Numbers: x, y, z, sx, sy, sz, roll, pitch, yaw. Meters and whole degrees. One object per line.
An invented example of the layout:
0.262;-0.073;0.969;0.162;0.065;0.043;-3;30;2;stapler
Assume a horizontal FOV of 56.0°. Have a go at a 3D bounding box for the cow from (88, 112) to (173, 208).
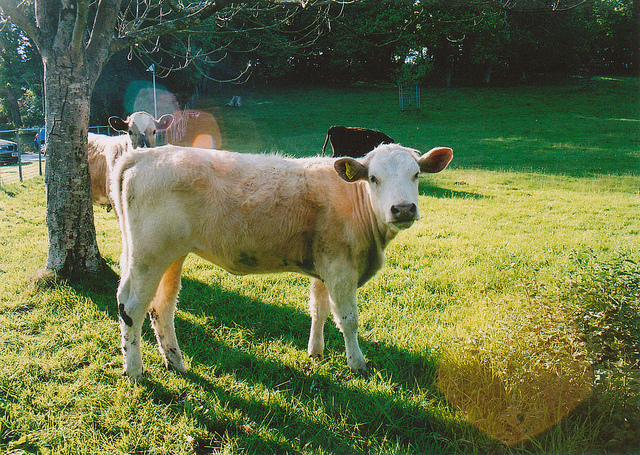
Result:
-4.146;-1.090;12.291;1.150;2.021;3.370;3;-3;-35;cow
